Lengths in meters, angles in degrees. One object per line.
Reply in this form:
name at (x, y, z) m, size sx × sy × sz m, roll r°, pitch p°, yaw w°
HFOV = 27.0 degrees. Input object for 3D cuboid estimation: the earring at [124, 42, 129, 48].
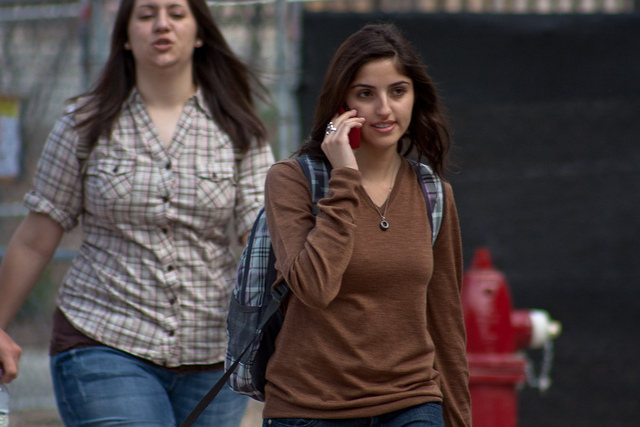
earring at (-1.227, -1.095, 8.486) m, size 0.019 × 0.031 × 0.032 m, roll 0°, pitch -14°, yaw -2°

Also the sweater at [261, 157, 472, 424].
sweater at (0.301, 0.492, 8.080) m, size 1.306 × 1.538 × 0.672 m, roll 2°, pitch 13°, yaw -4°

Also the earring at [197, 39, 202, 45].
earring at (-0.771, -1.128, 8.593) m, size 0.035 × 0.052 × 0.027 m, roll 4°, pitch -6°, yaw -11°

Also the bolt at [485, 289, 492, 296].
bolt at (1.116, 0.508, 8.748) m, size 0.045 × 0.038 × 0.010 m, roll 3°, pitch 13°, yaw -3°

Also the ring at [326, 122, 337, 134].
ring at (0.068, -0.544, 8.166) m, size 0.024 × 0.067 × 0.065 m, roll -10°, pitch -8°, yaw -41°
